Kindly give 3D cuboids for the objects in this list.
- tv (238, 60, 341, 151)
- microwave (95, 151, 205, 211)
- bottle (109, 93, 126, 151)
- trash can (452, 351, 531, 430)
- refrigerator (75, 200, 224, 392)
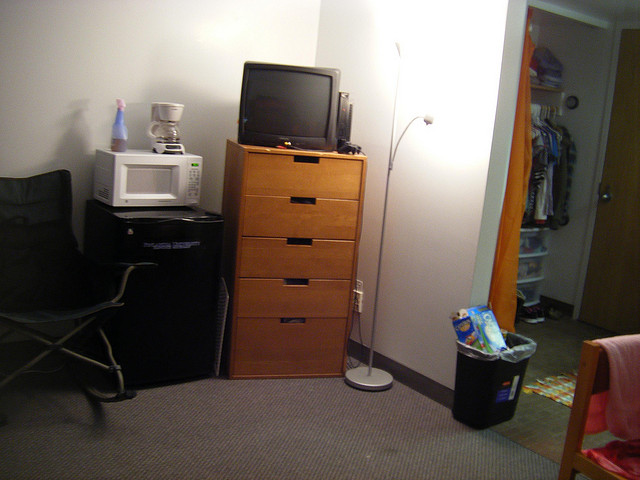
[{"bbox_3d":[-0.188,-0.785,3.592,0.812,0.745,0.509,4,12,-5],"label":"tv"},{"bbox_3d":[-1.120,-0.408,3.371,0.567,0.344,0.388,-4,16,-40],"label":"microwave"},{"bbox_3d":[-1.285,-0.730,3.271,0.086,0.306,0.140,-3,15,-23],"label":"bottle"},{"bbox_3d":[0.988,0.863,3.231,0.395,0.469,0.432,0,10,-34],"label":"trash can"},{"bbox_3d":[-0.971,0.288,3.535,0.769,0.992,0.806,0,11,-22],"label":"refrigerator"}]
